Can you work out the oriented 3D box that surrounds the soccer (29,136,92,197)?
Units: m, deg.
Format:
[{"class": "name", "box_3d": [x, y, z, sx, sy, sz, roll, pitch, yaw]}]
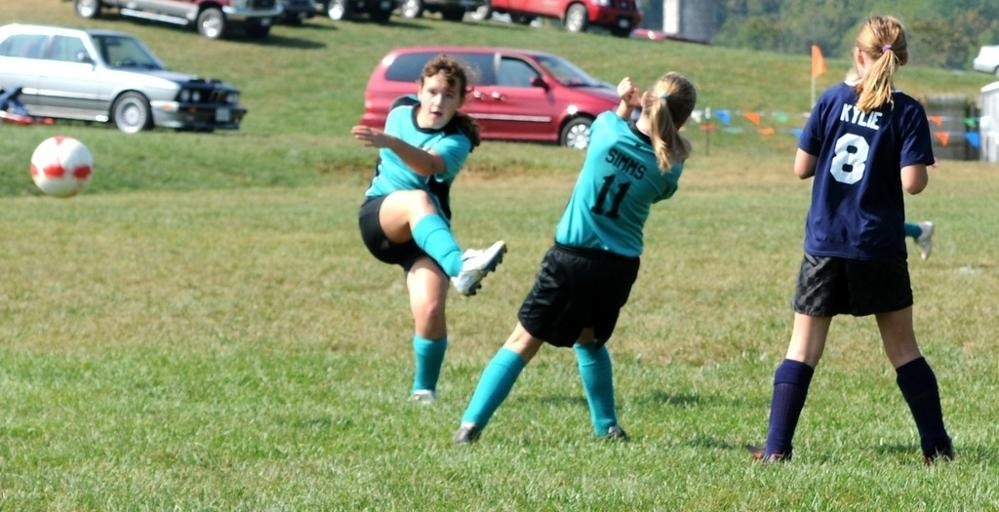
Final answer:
[{"class": "soccer", "box_3d": [-3.517, -0.712, 12.162, 0.568, 0.500, 0.529, -5, 23, -4]}]

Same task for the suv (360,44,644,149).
[{"class": "suv", "box_3d": [-0.083, -2.487, 23.208, 3.715, 1.208, 1.874, 0, 6, 2]}]
